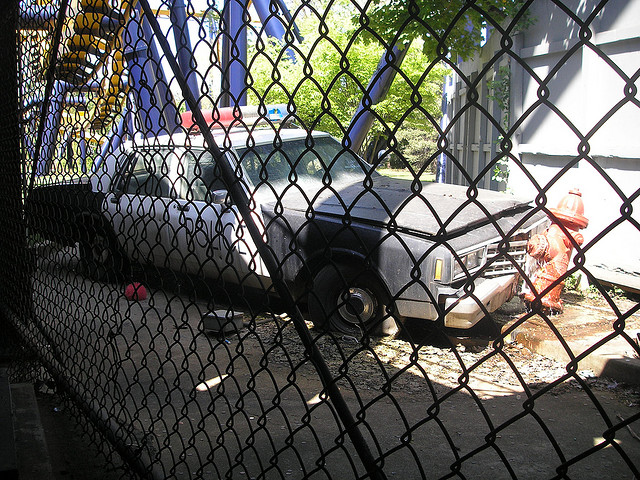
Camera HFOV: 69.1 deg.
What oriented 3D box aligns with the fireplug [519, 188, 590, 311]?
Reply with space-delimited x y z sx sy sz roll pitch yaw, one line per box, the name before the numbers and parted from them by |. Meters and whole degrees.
fireplug | 2.640 0.061 5.276 0.656 1.411 0.606 15 -1 -13
